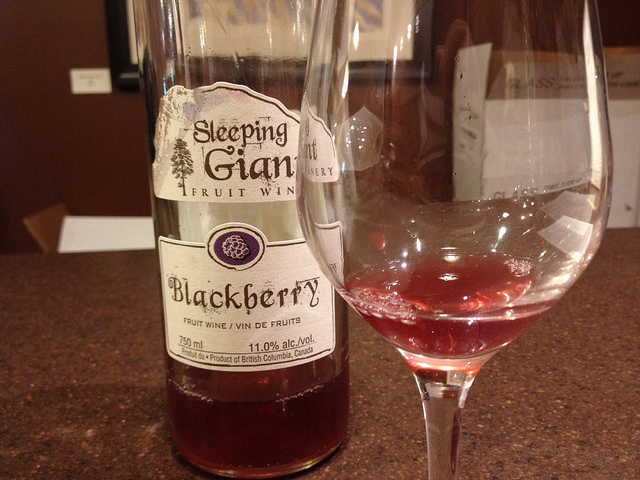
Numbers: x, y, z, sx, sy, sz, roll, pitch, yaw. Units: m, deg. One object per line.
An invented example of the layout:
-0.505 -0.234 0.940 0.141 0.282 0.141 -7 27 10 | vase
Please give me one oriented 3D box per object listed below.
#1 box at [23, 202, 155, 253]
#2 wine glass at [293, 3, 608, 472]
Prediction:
-0.589 -0.041 1.425 0.147 0.049 0.111 29 -7 -43 | box
0.076 0.003 0.360 0.182 0.281 0.101 -2 19 2 | wine glass
